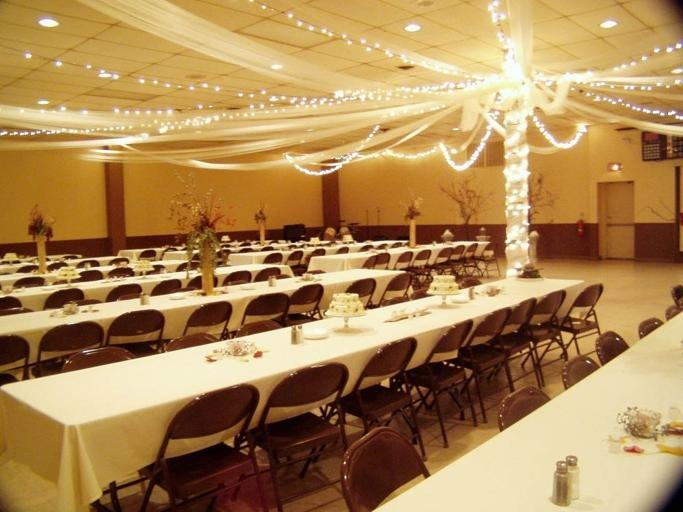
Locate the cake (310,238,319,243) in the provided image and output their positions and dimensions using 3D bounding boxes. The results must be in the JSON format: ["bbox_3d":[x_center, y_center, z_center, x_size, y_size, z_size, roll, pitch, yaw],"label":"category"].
[{"bbox_3d":[-0.627,-0.353,11.494,0.222,0.107,0.199,0,-1,6],"label":"cake"}]

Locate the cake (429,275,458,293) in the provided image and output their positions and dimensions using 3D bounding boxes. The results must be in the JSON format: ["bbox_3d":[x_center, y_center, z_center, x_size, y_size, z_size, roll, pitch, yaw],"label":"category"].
[{"bbox_3d":[0.876,0.236,4.186,0.200,0.076,0.180,-1,3,8],"label":"cake"}]

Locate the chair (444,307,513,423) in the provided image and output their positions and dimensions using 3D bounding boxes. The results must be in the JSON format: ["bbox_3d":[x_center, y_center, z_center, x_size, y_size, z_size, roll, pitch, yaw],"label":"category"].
[{"bbox_3d":[1.145,0.834,4.239,0.540,0.681,0.577,-9,4,-30],"label":"chair"}]

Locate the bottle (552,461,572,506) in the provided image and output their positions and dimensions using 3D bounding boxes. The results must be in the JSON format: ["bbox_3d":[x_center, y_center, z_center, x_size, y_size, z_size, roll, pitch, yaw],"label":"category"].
[{"bbox_3d":[0.756,0.773,1.706,0.061,0.141,0.079,1,8,23],"label":"bottle"}]

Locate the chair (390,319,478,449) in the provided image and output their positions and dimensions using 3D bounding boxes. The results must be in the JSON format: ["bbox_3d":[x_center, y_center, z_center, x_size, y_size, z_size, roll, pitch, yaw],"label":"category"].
[{"bbox_3d":[0.815,0.912,3.881,0.612,0.701,0.464,-19,-14,18],"label":"chair"}]

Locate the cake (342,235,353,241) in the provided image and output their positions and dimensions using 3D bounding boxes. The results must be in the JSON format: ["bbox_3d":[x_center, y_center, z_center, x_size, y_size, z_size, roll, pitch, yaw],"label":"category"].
[{"bbox_3d":[0.138,-0.411,11.635,0.210,0.084,0.187,0,-1,4],"label":"cake"}]

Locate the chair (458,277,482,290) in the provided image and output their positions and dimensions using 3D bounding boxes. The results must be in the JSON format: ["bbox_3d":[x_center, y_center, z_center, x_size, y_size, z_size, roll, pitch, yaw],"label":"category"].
[{"bbox_3d":[1.852,0.391,7.235,0.284,0.298,0.320,-3,-10,28],"label":"chair"}]

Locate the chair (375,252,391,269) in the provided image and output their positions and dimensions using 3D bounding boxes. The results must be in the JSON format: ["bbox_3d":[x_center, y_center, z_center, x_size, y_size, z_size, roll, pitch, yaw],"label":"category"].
[{"bbox_3d":[0.738,0.088,8.739,0.186,0.308,0.569,2,7,28],"label":"chair"}]

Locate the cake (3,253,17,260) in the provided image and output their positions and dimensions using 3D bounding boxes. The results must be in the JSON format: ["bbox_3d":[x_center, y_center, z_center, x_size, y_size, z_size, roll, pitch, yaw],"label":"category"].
[{"bbox_3d":[-6.206,0.006,9.318,0.184,0.067,0.166,3,3,10],"label":"cake"}]

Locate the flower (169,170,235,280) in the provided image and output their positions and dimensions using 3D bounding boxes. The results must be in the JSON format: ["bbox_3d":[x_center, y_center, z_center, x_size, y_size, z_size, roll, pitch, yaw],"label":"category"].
[{"bbox_3d":[-1.370,-0.263,5.058,0.468,0.617,0.447,-7,-9,14],"label":"flower"}]

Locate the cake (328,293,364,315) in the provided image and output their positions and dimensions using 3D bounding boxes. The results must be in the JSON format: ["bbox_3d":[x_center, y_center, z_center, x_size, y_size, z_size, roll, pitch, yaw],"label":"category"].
[{"bbox_3d":[0.028,0.337,3.520,0.202,0.077,0.179,1,0,-11],"label":"cake"}]

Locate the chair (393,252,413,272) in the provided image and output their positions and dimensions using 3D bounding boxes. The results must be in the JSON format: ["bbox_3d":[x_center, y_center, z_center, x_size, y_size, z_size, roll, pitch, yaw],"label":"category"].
[{"bbox_3d":[1.198,0.088,9.314,0.274,0.379,0.485,2,7,25],"label":"chair"}]
